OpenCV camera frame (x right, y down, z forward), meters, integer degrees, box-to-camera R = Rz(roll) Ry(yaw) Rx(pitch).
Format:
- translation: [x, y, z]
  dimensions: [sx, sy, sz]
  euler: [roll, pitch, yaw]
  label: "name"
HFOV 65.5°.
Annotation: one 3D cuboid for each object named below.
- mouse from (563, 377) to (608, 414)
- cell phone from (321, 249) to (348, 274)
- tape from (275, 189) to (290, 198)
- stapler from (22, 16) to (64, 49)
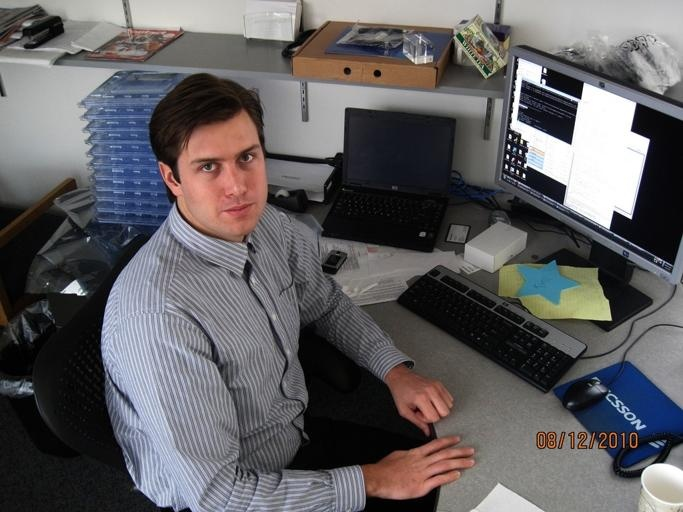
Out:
- translation: [0.630, 0.359, 1.373]
  dimensions: [0.104, 0.033, 0.074]
  euler: [-30, 51, -17]
  label: "mouse"
- translation: [-0.026, 0.016, 1.860]
  dimensions: [0.054, 0.031, 0.097]
  euler: [13, 46, 16]
  label: "cell phone"
- translation: [-0.231, -0.244, 2.058]
  dimensions: [0.034, 0.013, 0.034]
  euler: [5, 51, 8]
  label: "tape"
- translation: [-1.118, -0.840, 1.986]
  dimensions: [0.049, 0.079, 0.174]
  euler: [16, 43, 7]
  label: "stapler"
